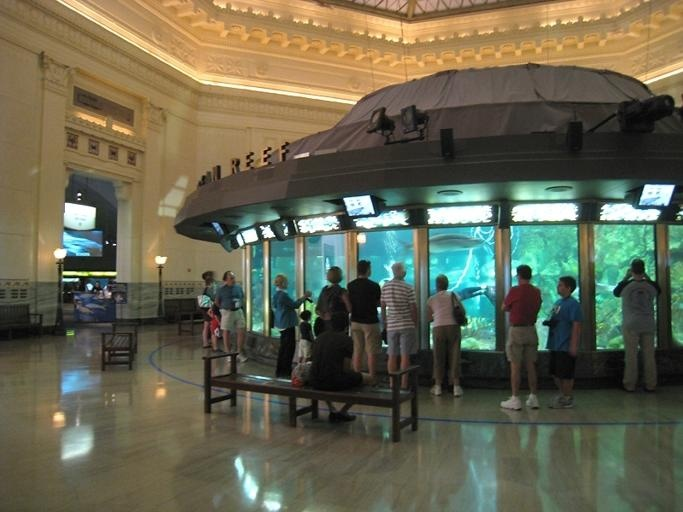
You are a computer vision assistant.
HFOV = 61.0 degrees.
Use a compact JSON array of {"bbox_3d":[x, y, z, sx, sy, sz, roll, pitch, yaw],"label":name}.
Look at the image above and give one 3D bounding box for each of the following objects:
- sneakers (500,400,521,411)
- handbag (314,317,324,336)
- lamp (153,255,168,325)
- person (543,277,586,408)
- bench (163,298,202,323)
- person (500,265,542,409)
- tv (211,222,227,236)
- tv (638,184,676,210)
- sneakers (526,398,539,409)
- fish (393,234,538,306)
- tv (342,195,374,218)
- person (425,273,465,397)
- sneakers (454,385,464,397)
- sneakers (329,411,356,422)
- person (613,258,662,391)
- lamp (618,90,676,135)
[{"bbox_3d":[2.555,2.212,8.687,0.126,0.147,0.333,3,-2,-35],"label":"sneakers"},{"bbox_3d":[-0.416,1.262,10.443,0.225,0.293,0.309,2,-11,-2],"label":"handbag"},{"bbox_3d":[-6.831,1.086,21.638,0.506,2.359,0.896,5,-15,-9],"label":"lamp"},{"bbox_3d":[3.390,1.285,8.902,0.527,2.025,0.642,-3,-16,19],"label":"person"},{"bbox_3d":[-5.928,2.026,21.360,0.575,0.795,1.584,-4,-5,38],"label":"bench"},{"bbox_3d":[2.764,1.239,8.927,0.615,2.205,0.534,-4,-16,22],"label":"person"},{"bbox_3d":[-2.721,-0.600,12.759,0.304,0.169,0.981,5,-15,-11],"label":"tv"},{"bbox_3d":[4.806,-0.927,8.891,0.387,0.359,0.052,2,34,6],"label":"tv"},{"bbox_3d":[2.895,2.229,8.781,0.199,0.187,0.246,-2,-15,15],"label":"sneakers"},{"bbox_3d":[1.914,0.238,10.716,1.163,1.087,1.161,-5,-6,-10],"label":"fish"},{"bbox_3d":[0.310,-0.795,9.440,0.497,0.262,0.420,-2,-15,16],"label":"tv"},{"bbox_3d":[1.724,1.314,9.533,0.607,1.919,0.715,0,-15,8],"label":"person"},{"bbox_3d":[1.910,2.210,9.513,0.153,0.185,0.300,0,-15,10],"label":"sneakers"},{"bbox_3d":[-0.011,2.283,8.229,0.294,0.112,0.161,-4,-8,8],"label":"sneakers"},{"bbox_3d":[4.940,1.167,9.616,0.657,2.116,0.702,-8,-18,34],"label":"person"},{"bbox_3d":[4.391,-2.045,8.337,0.624,0.424,0.602,-1,-3,-20],"label":"lamp"}]
